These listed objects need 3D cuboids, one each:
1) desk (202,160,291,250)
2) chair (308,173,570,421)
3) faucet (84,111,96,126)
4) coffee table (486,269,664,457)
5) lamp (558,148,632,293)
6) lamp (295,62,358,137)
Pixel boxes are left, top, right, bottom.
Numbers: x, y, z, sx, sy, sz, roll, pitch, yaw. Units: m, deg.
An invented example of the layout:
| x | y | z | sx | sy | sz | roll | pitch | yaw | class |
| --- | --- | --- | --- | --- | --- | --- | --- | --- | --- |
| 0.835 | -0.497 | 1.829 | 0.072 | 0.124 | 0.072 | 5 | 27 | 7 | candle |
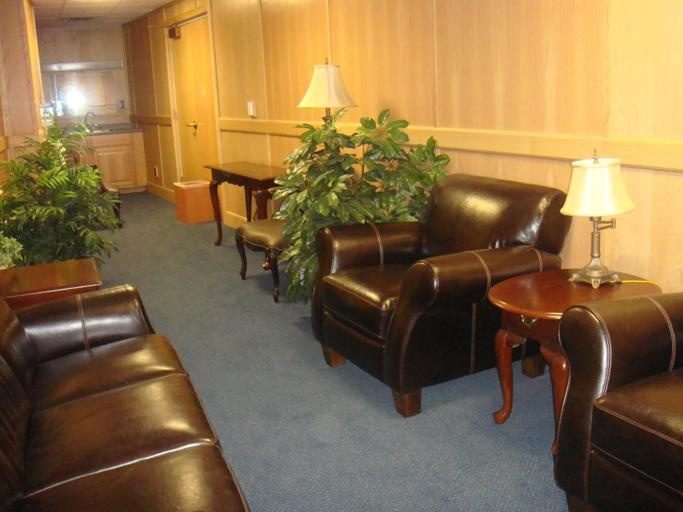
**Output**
| x | y | z | sx | sy | sz | roll | pitch | yaw | class |
| --- | --- | --- | --- | --- | --- | --- | --- | --- | --- |
| -0.910 | -0.494 | 5.162 | 0.489 | 0.868 | 1.002 | -10 | 17 | -34 | desk |
| 0.514 | 0.130 | 2.962 | 1.370 | 0.968 | 1.302 | -1 | 15 | 5 | chair |
| -4.304 | -2.357 | 9.108 | 0.189 | 0.179 | 0.136 | -11 | 19 | -23 | faucet |
| 0.900 | 0.298 | 2.506 | 0.799 | 0.654 | 0.753 | -14 | 21 | -33 | coffee table |
| 1.140 | -0.185 | 2.393 | 0.273 | 0.543 | 0.500 | 5 | 19 | 23 | lamp |
| -0.097 | -1.146 | 3.906 | 0.419 | 0.466 | 0.407 | 16 | 27 | 36 | lamp |
